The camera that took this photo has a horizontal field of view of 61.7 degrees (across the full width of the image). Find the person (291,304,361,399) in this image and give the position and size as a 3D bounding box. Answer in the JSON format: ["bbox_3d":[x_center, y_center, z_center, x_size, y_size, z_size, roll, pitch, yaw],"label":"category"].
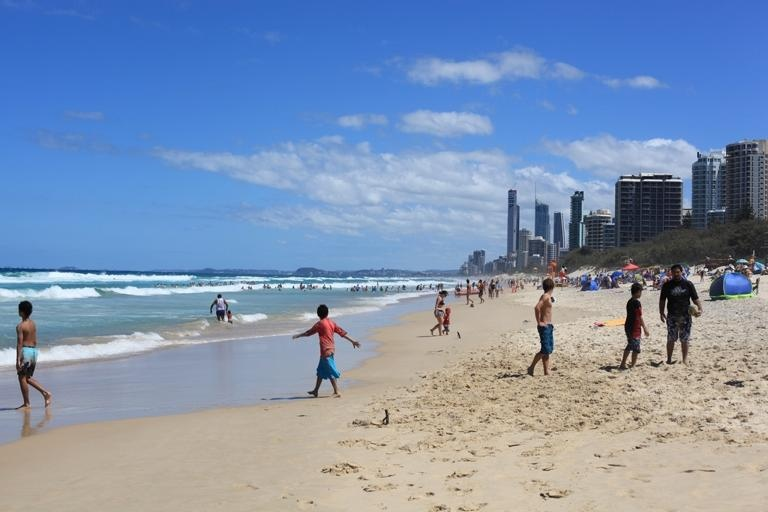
[{"bbox_3d":[-1.408,2.246,15.505,0.802,2.216,1.256,-2,3,-6],"label":"person"}]

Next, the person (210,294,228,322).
[{"bbox_3d":[-8.093,2.507,31.665,0.722,1.364,2.492,-2,2,-15],"label":"person"}]
